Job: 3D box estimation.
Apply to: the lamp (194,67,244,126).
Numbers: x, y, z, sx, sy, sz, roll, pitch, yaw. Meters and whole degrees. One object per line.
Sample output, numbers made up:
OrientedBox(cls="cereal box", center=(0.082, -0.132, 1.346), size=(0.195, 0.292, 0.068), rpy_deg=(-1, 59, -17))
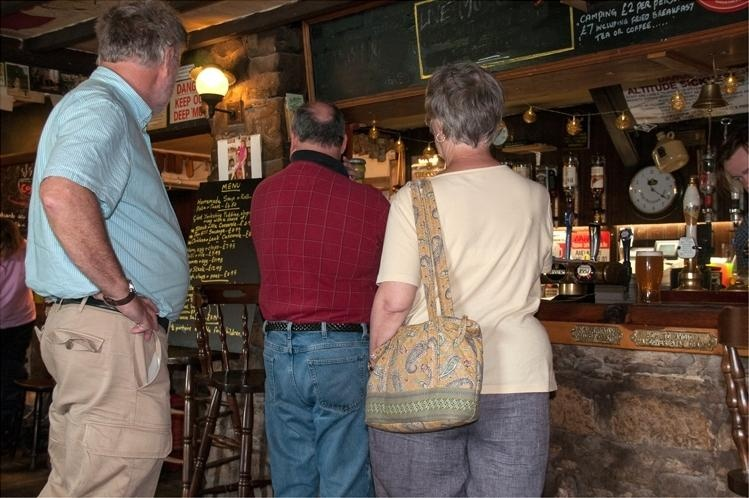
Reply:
OrientedBox(cls="lamp", center=(-1.413, -1.374, 5.352), size=(0.303, 0.409, 0.294), rpy_deg=(-4, -1, 36))

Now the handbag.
OrientedBox(cls="handbag", center=(0.193, 0.457, 2.169), size=(0.452, 0.459, 0.196), rpy_deg=(-2, -6, 28))

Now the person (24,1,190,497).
OrientedBox(cls="person", center=(-1.055, -0.008, 2.465), size=(0.656, 1.660, 0.349), rpy_deg=(-3, -1, -24))

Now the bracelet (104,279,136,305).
OrientedBox(cls="bracelet", center=(-0.989, 0.169, 2.368), size=(0.103, 0.037, 0.105), rpy_deg=(-22, -16, 29))

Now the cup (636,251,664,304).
OrientedBox(cls="cup", center=(1.641, 0.157, 3.613), size=(0.158, 0.320, 0.199), rpy_deg=(-4, -1, 16))
